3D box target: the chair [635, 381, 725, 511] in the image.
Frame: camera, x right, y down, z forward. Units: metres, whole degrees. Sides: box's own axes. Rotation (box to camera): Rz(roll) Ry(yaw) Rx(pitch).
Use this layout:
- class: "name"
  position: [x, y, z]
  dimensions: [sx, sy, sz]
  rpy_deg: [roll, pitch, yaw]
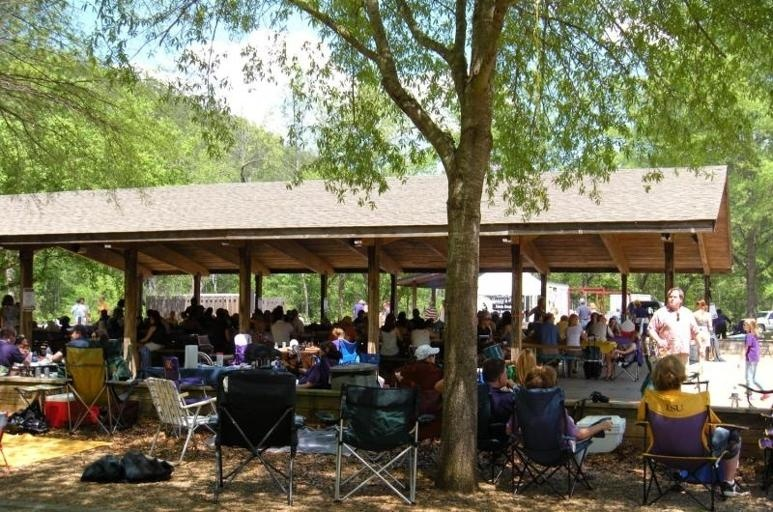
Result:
- class: "chair"
  position: [3.992, 2.640, 10.443]
  dimensions: [1.029, 1.608, 0.967]
  rpy_deg: [-3, -6, 23]

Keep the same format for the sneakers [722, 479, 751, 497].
- class: "sneakers"
  position: [4.854, 3.281, 10.661]
  dimensions: [0.264, 0.144, 0.342]
  rpy_deg: [5, 1, -31]

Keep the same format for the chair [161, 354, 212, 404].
- class: "chair"
  position: [-3.554, 2.230, 13.281]
  dimensions: [0.593, 0.985, 0.626]
  rpy_deg: [-12, -6, 23]

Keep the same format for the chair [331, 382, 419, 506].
- class: "chair"
  position: [-0.123, 2.633, 11.003]
  dimensions: [1.444, 1.941, 1.403]
  rpy_deg: [1, -3, 4]

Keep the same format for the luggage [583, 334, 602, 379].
- class: "luggage"
  position: [4.547, 2.387, 17.014]
  dimensions: [0.482, 0.735, 0.473]
  rpy_deg: [2, -3, -18]

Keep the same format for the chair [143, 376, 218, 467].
- class: "chair"
  position: [-3.252, 2.618, 12.419]
  dimensions: [1.112, 1.282, 1.116]
  rpy_deg: [0, 0, -18]

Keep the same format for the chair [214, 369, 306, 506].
- class: "chair"
  position: [-1.863, 2.496, 10.965]
  dimensions: [1.417, 1.837, 1.405]
  rpy_deg: [4, -2, -34]

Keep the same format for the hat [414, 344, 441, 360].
- class: "hat"
  position: [0.675, 1.536, 12.080]
  dimensions: [0.367, 0.138, 0.233]
  rpy_deg: [-11, 11, -22]

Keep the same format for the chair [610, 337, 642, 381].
- class: "chair"
  position: [5.600, 2.509, 17.987]
  dimensions: [0.748, 0.881, 0.703]
  rpy_deg: [-7, -17, 43]

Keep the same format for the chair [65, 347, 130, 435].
- class: "chair"
  position: [-5.228, 2.430, 13.891]
  dimensions: [0.915, 1.610, 1.128]
  rpy_deg: [0, -2, 14]

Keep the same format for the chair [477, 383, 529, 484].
- class: "chair"
  position: [1.625, 2.724, 11.311]
  dimensions: [0.748, 1.018, 0.768]
  rpy_deg: [1, -9, -25]
